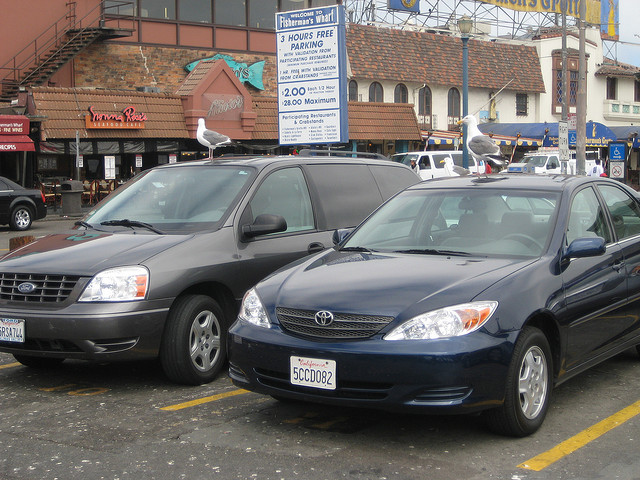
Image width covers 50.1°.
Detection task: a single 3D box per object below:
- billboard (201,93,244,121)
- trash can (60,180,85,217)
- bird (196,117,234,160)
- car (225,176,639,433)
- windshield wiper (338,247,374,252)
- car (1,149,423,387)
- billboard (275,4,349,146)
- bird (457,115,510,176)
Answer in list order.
[{"bbox_3d":[-4.351,-5.978,30.283,0.287,1.193,2.170,5,7,43],"label":"billboard"},{"bbox_3d":[-9.816,-1.673,26.784,0.779,1.432,0.841,-3,6,-19],"label":"trash can"},{"bbox_3d":[-2.444,-2.325,15.486,1.304,0.786,0.428,-1,12,-31],"label":"bird"},{"bbox_3d":[1.113,0.395,5.416,3.171,1.841,1.648,-4,6,-35],"label":"car"},{"bbox_3d":[0.248,0.067,5.837,0.266,0.031,0.025,2,0,33],"label":"windshield wiper"},{"bbox_3d":[-0.974,0.046,7.368,2.399,1.354,4.277,-2,-1,42],"label":"car"},{"bbox_3d":[-0.201,-3.774,15.586,1.803,3.009,0.394,3,7,35],"label":"billboard"},{"bbox_3d":[4.216,-2.522,17.256,0.882,1.286,2.107,0,5,13],"label":"bird"}]
